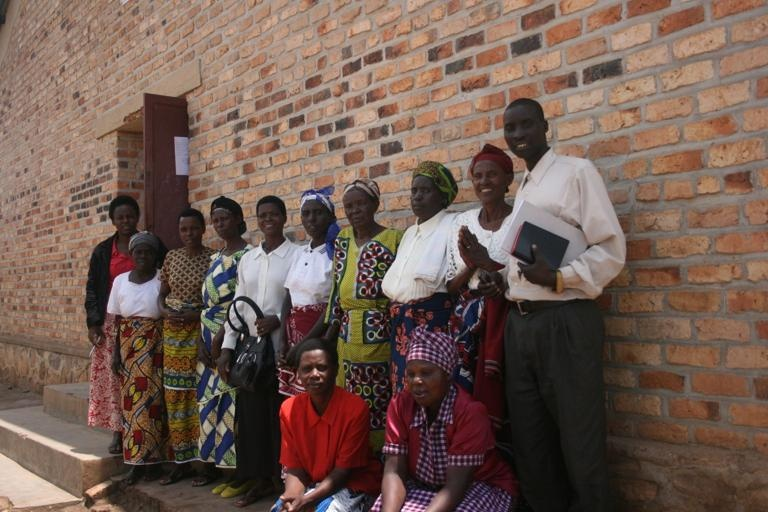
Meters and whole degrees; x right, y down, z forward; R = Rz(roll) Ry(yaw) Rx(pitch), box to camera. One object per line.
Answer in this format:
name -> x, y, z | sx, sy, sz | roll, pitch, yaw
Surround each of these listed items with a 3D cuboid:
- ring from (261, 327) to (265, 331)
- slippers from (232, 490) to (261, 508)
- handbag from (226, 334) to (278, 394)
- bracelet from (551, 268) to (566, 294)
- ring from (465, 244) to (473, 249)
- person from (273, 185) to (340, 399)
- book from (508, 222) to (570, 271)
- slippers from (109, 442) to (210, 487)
ring -> -0.893, 0.540, 4.727 | 0.024, 0.008, 0.032 | 2, 15, 3
slippers -> -0.994, 1.764, 4.664 | 0.088, 0.043, 0.192 | -5, -9, 32
handbag -> -0.988, 0.759, 4.811 | 0.246, 0.468, 0.506 | 11, -10, -34
bracelet -> 0.964, 0.150, 3.541 | 0.077, 0.112, 0.121 | 1, 17, 13
ring -> 0.500, -0.053, 3.751 | 0.035, 0.017, 0.008 | -1, -5, 3
person -> -0.562, 0.430, 4.802 | 0.557, 1.842, 0.489 | 0, 11, -4
book -> 0.859, -0.055, 3.544 | 0.313, 0.214, 0.088 | 23, -14, -16
slippers -> -1.737, 1.728, 5.227 | 0.868, 0.313, 0.274 | 9, -18, -22
